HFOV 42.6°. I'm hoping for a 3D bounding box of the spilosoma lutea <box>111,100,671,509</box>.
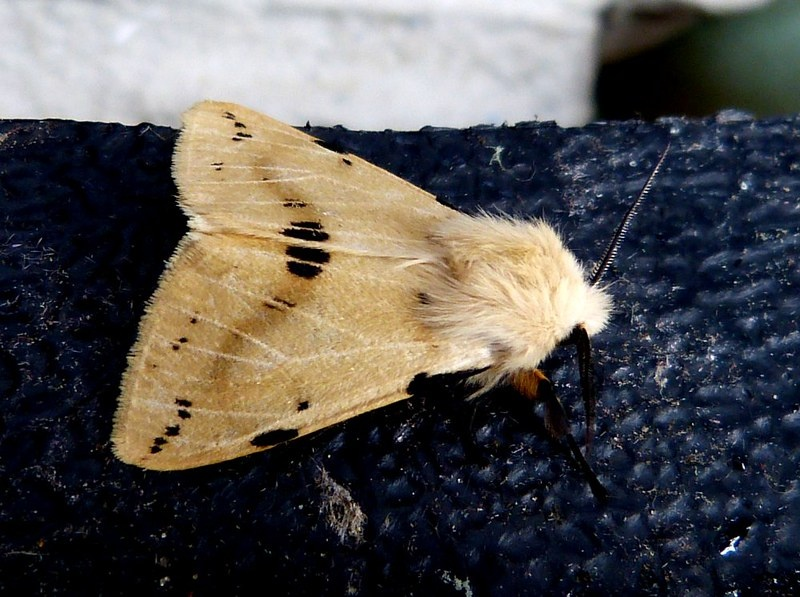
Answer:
[{"bbox_3d":[-0.111,0.002,1.810,0.967,0.262,0.594,8,75,-8],"label":"spilosoma lutea"}]
